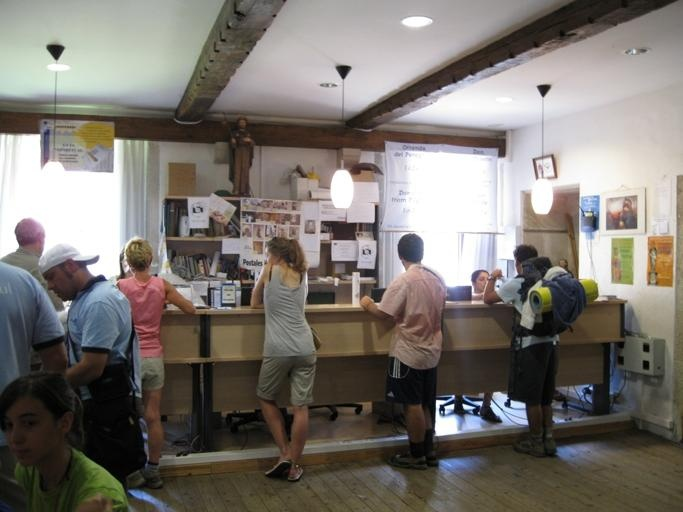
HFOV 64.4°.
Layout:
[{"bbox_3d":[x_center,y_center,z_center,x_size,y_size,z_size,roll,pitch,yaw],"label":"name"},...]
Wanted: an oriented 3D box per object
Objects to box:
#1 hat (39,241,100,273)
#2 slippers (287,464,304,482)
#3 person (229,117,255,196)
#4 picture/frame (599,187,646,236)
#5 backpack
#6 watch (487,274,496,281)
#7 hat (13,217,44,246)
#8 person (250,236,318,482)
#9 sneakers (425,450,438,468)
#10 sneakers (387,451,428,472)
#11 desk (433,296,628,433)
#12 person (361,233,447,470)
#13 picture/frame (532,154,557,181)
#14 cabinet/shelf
[{"bbox_3d":[-1.517,0.006,3.061,0.293,0.157,0.181,-24,8,-22],"label":"hat"},{"bbox_3d":[-0.373,1.768,4.438,0.070,0.118,0.179,2,3,7],"label":"slippers"},{"bbox_3d":[-1.240,-1.209,6.745,0.289,0.949,0.310,0,5,-13],"label":"person"},{"bbox_3d":[3.142,-0.495,6.073,0.039,0.550,0.556,2,-1,-29],"label":"picture/frame"},{"bbox_3d":[1.753,0.347,4.836,0.501,0.675,0.278,1,1,-9],"label":"backpack"},{"bbox_3d":[1.440,0.213,5.222,0.059,0.046,0.065,9,-6,-23],"label":"watch"},{"bbox_3d":[-2.499,-0.183,4.358,0.202,0.268,0.215,3,15,-11],"label":"hat"},{"bbox_3d":[-0.478,0.837,4.415,0.510,1.956,0.300,1,5,2],"label":"person"},{"bbox_3d":[0.780,1.763,4.716,0.063,0.077,0.174,-1,4,-6],"label":"sneakers"},{"bbox_3d":[0.573,1.761,4.733,0.348,0.169,0.139,3,-2,20],"label":"sneakers"},{"bbox_3d":[1.812,0.995,5.752,1.899,1.290,0.944,-3,12,-4],"label":"desk"},{"bbox_3d":[0.551,0.819,4.627,0.602,2.001,0.350,2,5,11],"label":"person"},{"bbox_3d":[2.621,-1.148,7.021,0.067,0.445,0.505,-2,1,-18],"label":"picture/frame"},{"bbox_3d":[-0.624,-0.047,6.982,2.218,1.356,0.349,4,12,1],"label":"cabinet/shelf"}]
